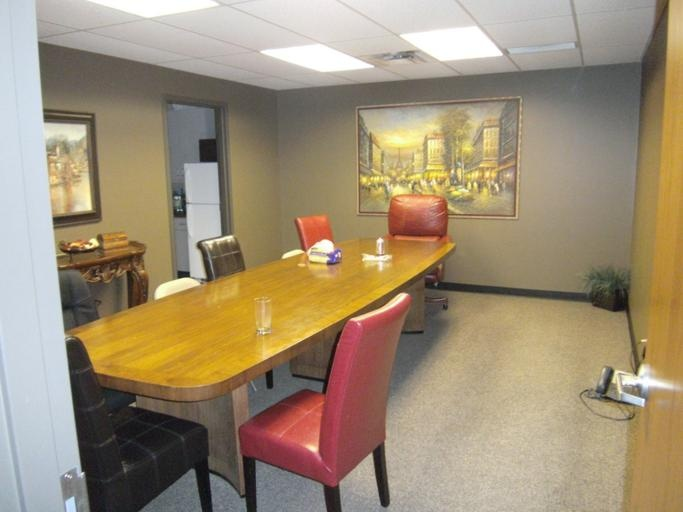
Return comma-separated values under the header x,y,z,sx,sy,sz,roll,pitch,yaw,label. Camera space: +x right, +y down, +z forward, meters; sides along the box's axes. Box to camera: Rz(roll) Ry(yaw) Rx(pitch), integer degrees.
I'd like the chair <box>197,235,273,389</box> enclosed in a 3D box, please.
x,y,z,sx,sy,sz,roll,pitch,yaw,label
-0.729,0.150,3.672,0.308,0.638,0.404,-13,-4,-42,chair

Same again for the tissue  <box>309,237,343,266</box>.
x,y,z,sx,sy,sz,roll,pitch,yaw,label
-0.136,-0.030,3.970,0.194,0.087,0.207,3,21,11,tissue 

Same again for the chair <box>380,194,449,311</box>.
x,y,z,sx,sy,sz,roll,pitch,yaw,label
0.858,-0.022,5.820,0.655,1.213,0.678,3,-6,12,chair

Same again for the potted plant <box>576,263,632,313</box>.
x,y,z,sx,sy,sz,roll,pitch,yaw,label
2.811,0.307,5.494,0.429,0.346,0.424,-9,13,-43,potted plant

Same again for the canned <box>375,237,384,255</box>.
x,y,z,sx,sy,sz,roll,pitch,yaw,label
0.320,-0.084,4.343,0.066,0.283,0.070,0,27,2,canned

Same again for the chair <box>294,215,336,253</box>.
x,y,z,sx,sy,sz,roll,pitch,yaw,label
-0.262,-0.238,5.084,0.340,0.610,0.326,8,12,44,chair
